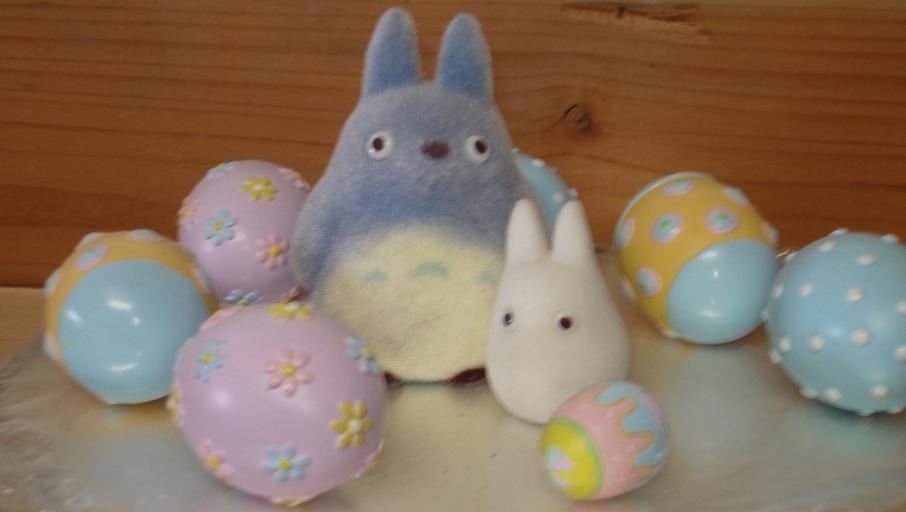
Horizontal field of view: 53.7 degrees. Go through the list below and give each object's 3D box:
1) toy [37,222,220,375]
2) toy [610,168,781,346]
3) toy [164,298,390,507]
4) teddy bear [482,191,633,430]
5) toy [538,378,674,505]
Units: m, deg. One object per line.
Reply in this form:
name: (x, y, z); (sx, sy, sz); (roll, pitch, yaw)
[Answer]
toy: (-0.545, 0.023, 1.476); (0.234, 0.236, 0.172); (9, 24, -24)
toy: (0.424, -0.004, 1.669); (0.251, 0.257, 0.299); (6, 23, -5)
toy: (-0.270, 0.243, 1.479); (0.320, 0.186, 0.268); (28, 78, 0)
teddy bear: (0.146, 0.087, 1.451); (0.220, 0.246, 0.262); (-17, 51, -18)
toy: (0.231, 0.277, 1.356); (0.191, 0.144, 0.146); (-9, 81, -26)
